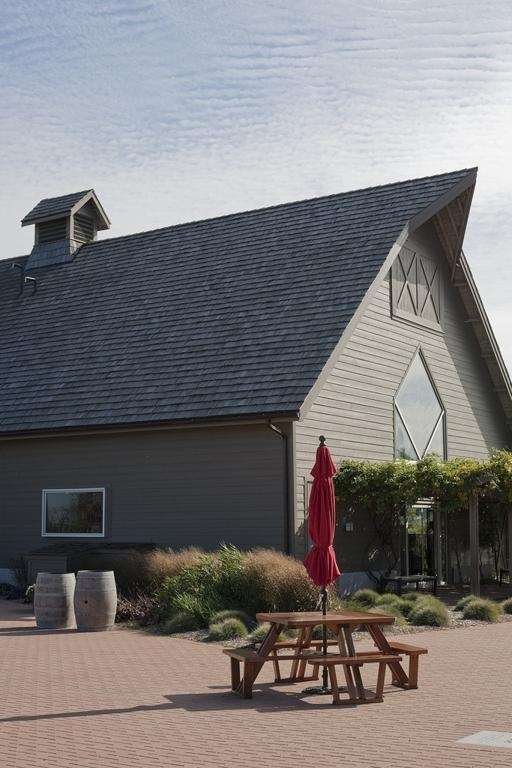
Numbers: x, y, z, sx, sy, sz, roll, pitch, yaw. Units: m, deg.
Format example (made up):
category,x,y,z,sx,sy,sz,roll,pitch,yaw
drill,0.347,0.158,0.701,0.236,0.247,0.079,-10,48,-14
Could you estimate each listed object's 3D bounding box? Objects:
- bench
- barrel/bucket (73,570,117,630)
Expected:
category,x,y,z,sx,sy,sz,roll,pitch,yaw
bench,0.739,2.830,8.449,1.703,0.533,1.865,-15,-19,37
barrel/bucket,-2.441,3.382,13.423,0.811,1.096,0.779,-1,-6,0
